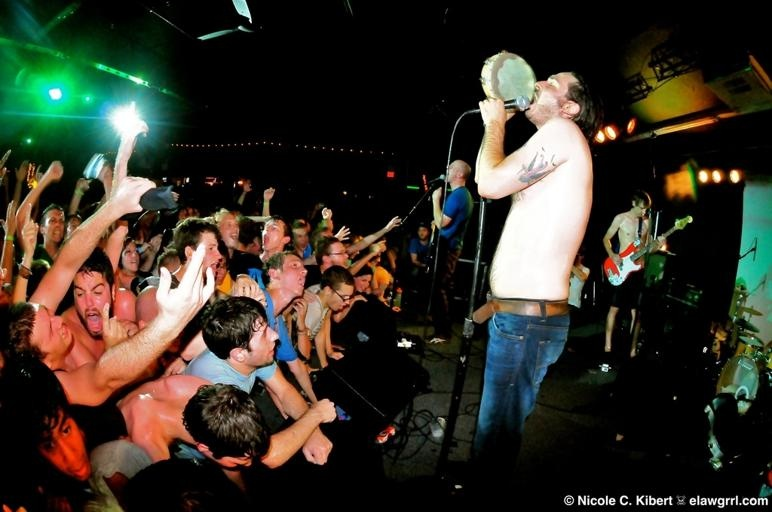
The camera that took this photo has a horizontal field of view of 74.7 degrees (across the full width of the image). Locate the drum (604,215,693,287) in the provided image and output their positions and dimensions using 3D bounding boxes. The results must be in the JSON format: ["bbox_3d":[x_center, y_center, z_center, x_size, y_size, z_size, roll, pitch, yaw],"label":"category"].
[{"bbox_3d":[3.709,-0.049,7.245,1.000,0.776,0.398,6,-2,26],"label":"drum"}]

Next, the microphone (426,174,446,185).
[{"bbox_3d":[0.712,-1.043,6.948,0.118,0.152,0.400,2,-4,-24],"label":"microphone"}]

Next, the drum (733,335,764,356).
[{"bbox_3d":[3.957,0.973,5.478,0.239,0.165,0.227,12,14,-3],"label":"drum"}]

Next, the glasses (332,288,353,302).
[{"bbox_3d":[-0.482,0.462,5.745,0.152,0.046,0.153,36,15,35],"label":"glasses"}]

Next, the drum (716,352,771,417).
[{"bbox_3d":[3.649,1.300,5.183,0.408,0.560,0.283,28,9,37],"label":"drum"}]

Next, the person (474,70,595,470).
[{"bbox_3d":[1.054,0.060,3.855,0.892,2.454,0.459,7,-2,14],"label":"person"}]
